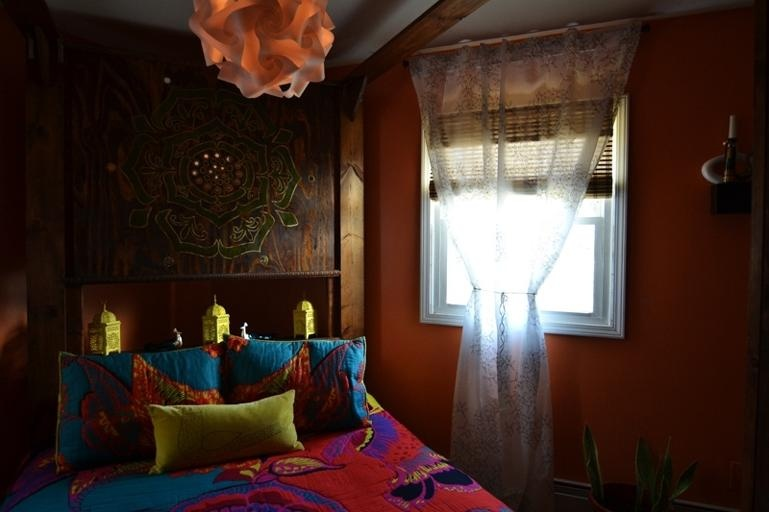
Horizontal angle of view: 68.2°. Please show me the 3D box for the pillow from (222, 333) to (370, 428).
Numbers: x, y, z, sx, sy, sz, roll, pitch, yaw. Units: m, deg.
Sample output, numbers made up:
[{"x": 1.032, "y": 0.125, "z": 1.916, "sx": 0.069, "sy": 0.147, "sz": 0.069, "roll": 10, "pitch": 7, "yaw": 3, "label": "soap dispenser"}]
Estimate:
[{"x": -0.563, "y": 0.769, "z": 3.416, "sx": 0.832, "sy": 0.594, "sz": 0.304, "roll": 0, "pitch": -11, "yaw": -2, "label": "pillow"}]

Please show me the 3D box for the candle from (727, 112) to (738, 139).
[{"x": 2.041, "y": -0.759, "z": 3.346, "sx": 0.065, "sy": 0.152, "sz": 0.037, "roll": 1, "pitch": 0, "yaw": -37, "label": "candle"}]

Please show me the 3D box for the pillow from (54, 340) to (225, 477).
[{"x": -1.295, "y": 0.827, "z": 3.245, "sx": 1.002, "sy": 0.678, "sz": 0.257, "roll": -1, "pitch": 0, "yaw": -10, "label": "pillow"}]
